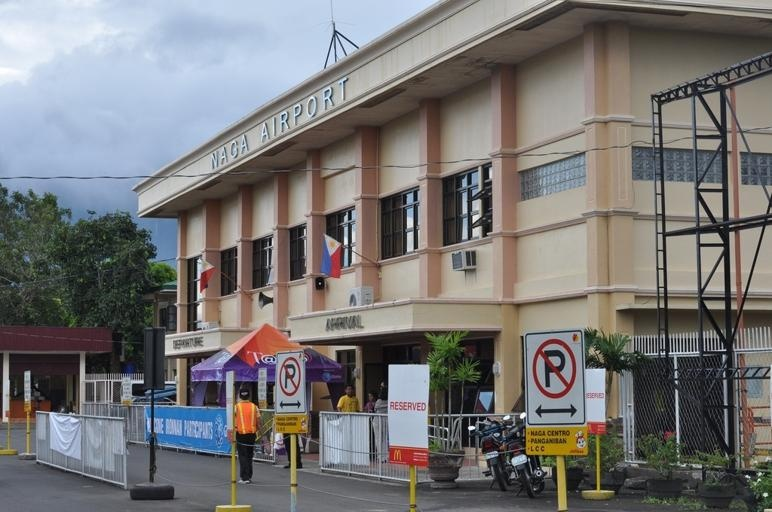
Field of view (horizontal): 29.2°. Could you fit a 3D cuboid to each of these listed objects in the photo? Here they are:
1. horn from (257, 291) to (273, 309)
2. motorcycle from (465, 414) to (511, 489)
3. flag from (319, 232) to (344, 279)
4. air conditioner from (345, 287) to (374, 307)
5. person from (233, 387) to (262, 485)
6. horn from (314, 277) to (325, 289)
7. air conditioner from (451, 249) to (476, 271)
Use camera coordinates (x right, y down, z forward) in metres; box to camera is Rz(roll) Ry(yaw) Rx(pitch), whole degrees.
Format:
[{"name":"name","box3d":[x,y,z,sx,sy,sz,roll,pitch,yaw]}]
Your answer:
[{"name":"horn","box3d":[-5.147,2.042,64.461,0.488,0.644,0.737,0,-6,43]},{"name":"motorcycle","box3d":[3.198,5.824,44.088,0.973,1.586,2.397,-29,0,8]},{"name":"flag","box3d":[-2.084,0.107,57.818,0.169,2.266,1.699,1,2,-38]},{"name":"air conditioner","box3d":[-0.924,1.656,56.923,0.635,0.941,1.199,-1,-1,-23]},{"name":"person","box3d":[-4.320,5.619,45.577,0.848,2.895,0.960,-2,-3,38]},{"name":"horn","box3d":[-2.684,1.209,60.668,0.434,0.509,0.157,1,7,-8]},{"name":"air conditioner","box3d":[2.783,0.244,52.439,0.587,0.824,1.098,-2,-1,-29]}]
